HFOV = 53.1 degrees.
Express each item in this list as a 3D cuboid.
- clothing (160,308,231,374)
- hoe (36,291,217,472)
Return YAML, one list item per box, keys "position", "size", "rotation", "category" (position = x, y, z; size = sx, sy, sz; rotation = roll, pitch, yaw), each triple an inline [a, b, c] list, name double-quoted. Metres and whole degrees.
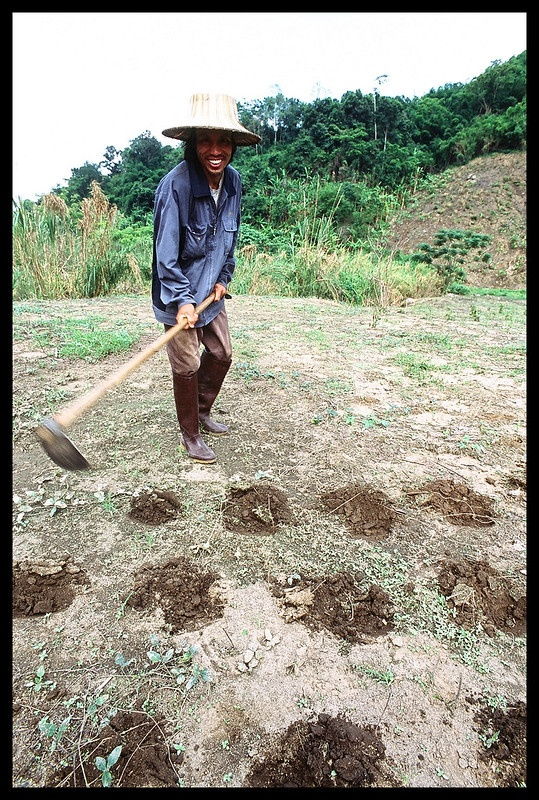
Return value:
- position: [-0.370, -0.336, 2.941]
  size: [0.313, 0.464, 0.172]
  rotation: [-19, 58, -13]
  category: "clothing"
- position: [-0.554, -0.183, 2.483]
  size: [0.300, 0.198, 1.458]
  rotation: [35, 40, -6]
  category: "hoe"
